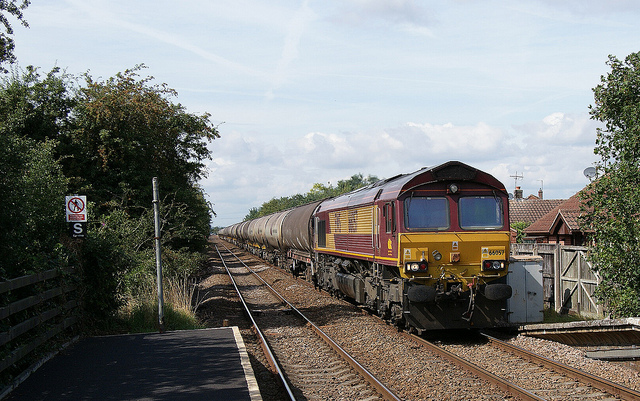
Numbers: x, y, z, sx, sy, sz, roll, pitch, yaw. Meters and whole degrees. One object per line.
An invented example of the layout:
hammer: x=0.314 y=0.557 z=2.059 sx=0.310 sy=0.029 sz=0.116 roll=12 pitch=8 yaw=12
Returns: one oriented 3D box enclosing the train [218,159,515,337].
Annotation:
train: x=-0.987 y=2.069 z=38.717 sx=4.991 sy=6.313 sz=50.741 roll=-1 pitch=-1 yaw=-13
